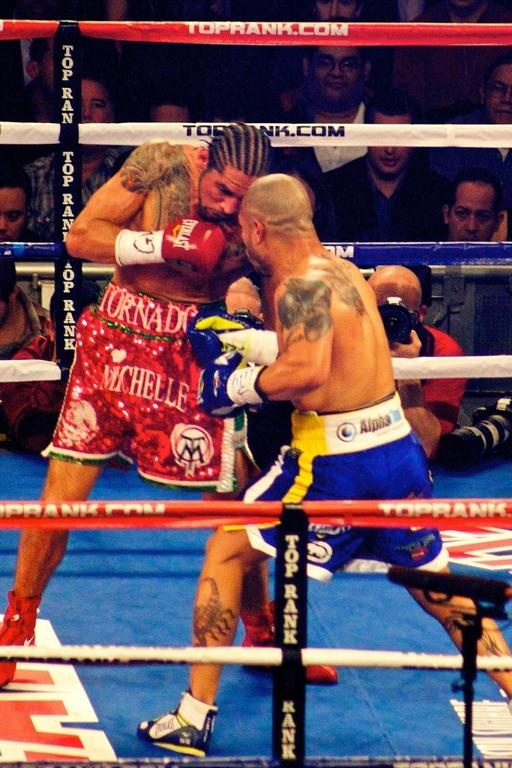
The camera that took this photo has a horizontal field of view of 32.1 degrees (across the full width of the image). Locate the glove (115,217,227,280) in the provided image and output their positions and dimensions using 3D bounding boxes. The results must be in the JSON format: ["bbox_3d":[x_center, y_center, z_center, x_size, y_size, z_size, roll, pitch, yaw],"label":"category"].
[{"bbox_3d":[-0.212,-0.344,2.246,0.219,0.073,0.136,-3,43,24],"label":"glove"}]

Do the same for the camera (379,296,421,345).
[{"bbox_3d":[0.493,-0.229,3.155,0.137,0.163,0.088,0,9,10],"label":"camera"}]

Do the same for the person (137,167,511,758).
[{"bbox_3d":[0.128,0.170,1.865,0.745,1.187,0.764,9,18,35],"label":"person"}]
